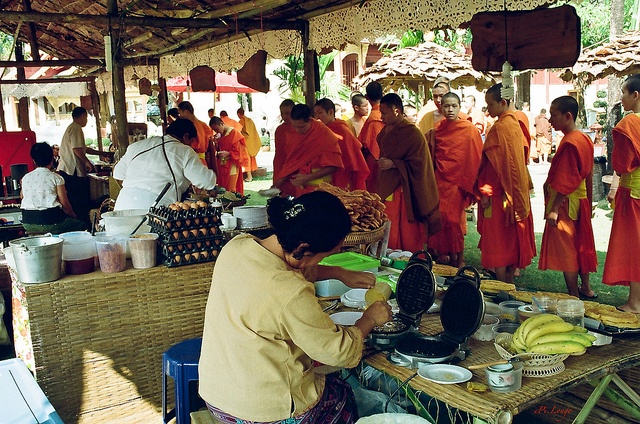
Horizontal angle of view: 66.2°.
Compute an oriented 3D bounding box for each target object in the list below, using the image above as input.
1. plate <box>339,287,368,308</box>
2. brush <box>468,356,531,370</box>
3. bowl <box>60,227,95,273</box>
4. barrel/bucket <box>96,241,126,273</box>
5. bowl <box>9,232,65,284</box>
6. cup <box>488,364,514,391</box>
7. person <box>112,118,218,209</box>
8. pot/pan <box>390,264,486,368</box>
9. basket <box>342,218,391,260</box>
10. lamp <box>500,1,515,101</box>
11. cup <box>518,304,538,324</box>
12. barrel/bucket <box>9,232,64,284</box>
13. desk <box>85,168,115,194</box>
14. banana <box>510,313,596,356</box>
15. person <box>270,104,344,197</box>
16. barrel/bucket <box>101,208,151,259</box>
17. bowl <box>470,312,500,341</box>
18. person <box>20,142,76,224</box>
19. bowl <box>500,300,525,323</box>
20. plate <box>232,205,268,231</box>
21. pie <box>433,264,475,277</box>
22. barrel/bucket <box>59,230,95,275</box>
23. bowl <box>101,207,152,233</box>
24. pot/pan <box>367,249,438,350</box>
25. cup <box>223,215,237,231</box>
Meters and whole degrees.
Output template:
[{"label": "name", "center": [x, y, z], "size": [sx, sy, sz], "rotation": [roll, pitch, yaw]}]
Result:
[{"label": "plate", "center": [0.229, 0.570, 3.233], "size": [0.141, 0.029, 0.134], "rotation": [-3, 16, -10]}, {"label": "brush", "center": [0.920, 0.782, 2.499], "size": [0.253, 0.027, 0.043], "rotation": [-9, 41, -11]}, {"label": "bowl", "center": [-1.600, 0.279, 3.247], "size": [0.251, 0.236, 0.233], "rotation": [-3, 2, 0]}, {"label": "barrel/bucket", "center": [-1.352, 0.291, 3.213], "size": [0.204, 0.171, 0.202], "rotation": [-2, 2, 0]}, {"label": "bowl", "center": [-1.751, 0.294, 3.139], "size": [0.320, 0.240, 0.315], "rotation": [0, 5, 0]}, {"label": "cup", "center": [0.887, 0.819, 2.399], "size": [0.120, 0.067, 0.115], "rotation": [-2, 2, 0]}, {"label": "person", "center": [-1.401, -0.378, 4.405], "size": [0.900, 0.627, 0.332], "rotation": [-4, 8, -9]}, {"label": "pot/pan", "center": [0.686, 0.550, 2.854], "size": [0.618, 0.553, 0.432], "rotation": [-4, 11, -19]}, {"label": "basket", "center": [0.359, 0.230, 3.855], "size": [0.362, 0.225, 0.354], "rotation": [-4, 6, -40]}, {"label": "lamp", "center": [1.730, -1.471, 4.543], "size": [0.101, 0.784, 0.348], "rotation": [0, 9, 21]}, {"label": "cup", "center": [1.226, 0.611, 2.929], "size": [0.099, 0.097, 0.094], "rotation": [-6, 17, 2]}, {"label": "barrel/bucket", "center": [-1.765, 0.285, 3.140], "size": [0.321, 0.240, 0.314], "rotation": [0, 5, 0]}, {"label": "desk", "center": [-3.520, -0.504, 7.813], "size": [0.319, 0.196, 0.446], "rotation": [-14, 25, -41]}, {"label": "banana", "center": [1.226, 0.657, 2.576], "size": [0.378, 0.203, 0.108], "rotation": [-5, -35, -16]}, {"label": "person", "center": [-0.157, -0.726, 5.659], "size": [0.832, 1.063, 0.381], "rotation": [-1, 8, 12]}, {"label": "barrel/bucket", "center": [-1.361, 0.142, 3.489], "size": [0.363, 0.243, 0.359], "rotation": [-1, 4, 0]}, {"label": "bowl", "center": [0.965, 0.682, 2.868], "size": [0.143, 0.085, 0.144], "rotation": [1, 10, 0]}, {"label": "person", "center": [-3.077, -0.324, 5.453], "size": [0.484, 0.903, 0.288], "rotation": [-7, 9, -28]}, {"label": "bowl", "center": [1.159, 0.609, 2.991], "size": [0.122, 0.087, 0.121], "rotation": [-1, 14, 0]}, {"label": "plate", "center": [-0.638, 0.029, 4.428], "size": [0.295, 0.173, 0.281], "rotation": [-1, 2, -18]}, {"label": "pie", "center": [0.921, 0.434, 3.622], "size": [0.153, 0.040, 0.166], "rotation": [12, 14, 36]}, {"label": "barrel/bucket", "center": [-1.531, 0.273, 3.237], "size": [0.271, 0.262, 0.255], "rotation": [-1, 2, 0]}, {"label": "bowl", "center": [-1.358, 0.074, 3.468], "size": [0.240, 0.159, 0.237], "rotation": [0, 1, 0]}, {"label": "pot/pan", "center": [0.492, 0.553, 2.936], "size": [0.571, 0.384, 0.379], "rotation": [-26, 25, -37]}, {"label": "cup", "center": [-0.796, 0.097, 4.328], "size": [0.131, 0.088, 0.125], "rotation": [1, 4, 0]}]
